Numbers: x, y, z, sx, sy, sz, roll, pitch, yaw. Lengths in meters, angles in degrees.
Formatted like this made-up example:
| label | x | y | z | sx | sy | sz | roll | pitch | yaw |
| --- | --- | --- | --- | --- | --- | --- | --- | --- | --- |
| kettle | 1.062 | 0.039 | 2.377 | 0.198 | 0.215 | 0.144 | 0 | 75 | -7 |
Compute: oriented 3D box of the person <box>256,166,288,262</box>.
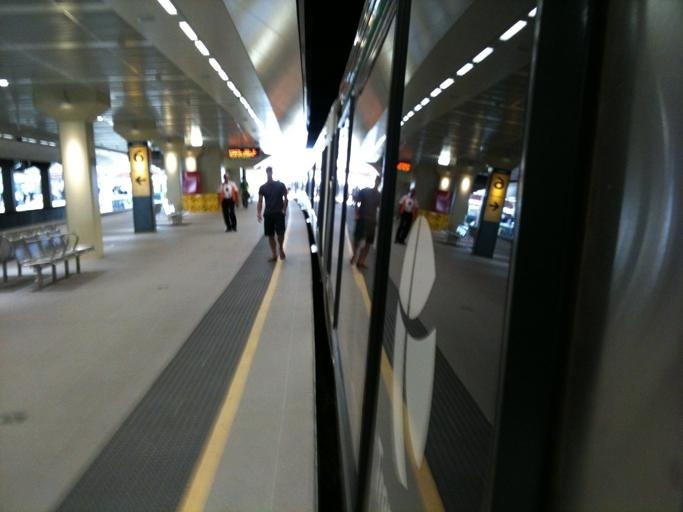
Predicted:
| label | x | y | z | sx | sy | sz | roll | pitch | yaw |
| --- | --- | --- | --- | --- | --- | --- | --- | --- | --- |
| person | -1.441 | -0.902 | 9.680 | 0.557 | 1.905 | 1.489 | -2 | 9 | -10 |
